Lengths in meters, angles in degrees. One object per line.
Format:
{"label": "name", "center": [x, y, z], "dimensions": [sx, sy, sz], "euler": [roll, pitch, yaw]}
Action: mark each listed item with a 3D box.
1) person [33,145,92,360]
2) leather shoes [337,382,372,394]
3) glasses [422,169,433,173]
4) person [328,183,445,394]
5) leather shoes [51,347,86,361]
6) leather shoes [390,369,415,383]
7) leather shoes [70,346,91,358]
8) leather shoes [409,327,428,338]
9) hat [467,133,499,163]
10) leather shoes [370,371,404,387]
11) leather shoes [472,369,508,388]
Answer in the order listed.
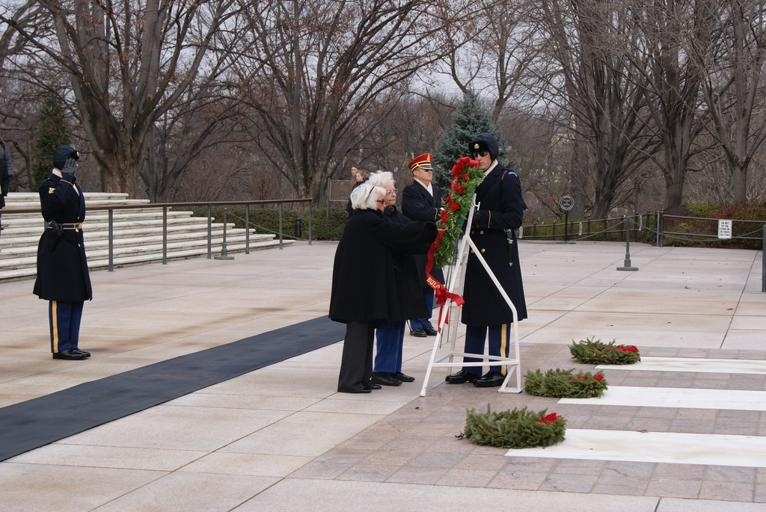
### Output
{"label": "person", "center": [-4.673, -0.056, 13.496], "dimensions": [0.802, 2.872, 0.835], "euler": [0, 5, -16]}
{"label": "leather shoes", "center": [-0.344, 1.595, 11.900], "dimensions": [0.526, 0.153, 0.134], "euler": [-2, -6, -1]}
{"label": "glasses", "center": [0.658, -1.175, 13.730], "dimensions": [0.089, 0.022, 0.091], "euler": [3, -5, -42]}
{"label": "person", "center": [-0.082, 0.360, 11.899], "dimensions": [1.163, 2.564, 0.439], "euler": [1, 5, -2]}
{"label": "leather shoes", "center": [-4.489, 1.336, 13.309], "dimensions": [0.392, 0.100, 0.181], "euler": [0, -1, 1]}
{"label": "leather shoes", "center": [0.243, 1.525, 12.404], "dimensions": [0.390, 0.116, 0.109], "euler": [5, -1, 3]}
{"label": "leather shoes", "center": [-4.411, 1.316, 13.390], "dimensions": [0.341, 0.100, 0.108], "euler": [15, -7, -4]}
{"label": "leather shoes", "center": [0.577, 1.182, 14.934], "dimensions": [0.318, 0.094, 0.097], "euler": [0, 1, 13]}
{"label": "hat", "center": [1.298, -1.305, 11.963], "dimensions": [0.352, 0.337, 0.325], "euler": [2, 5, 10]}
{"label": "leather shoes", "center": [0.061, 1.543, 12.198], "dimensions": [0.471, 0.130, 0.143], "euler": [0, -1, 4]}
{"label": "leather shoes", "center": [1.399, 1.511, 11.999], "dimensions": [0.490, 0.137, 0.155], "euler": [2, -7, -18]}
